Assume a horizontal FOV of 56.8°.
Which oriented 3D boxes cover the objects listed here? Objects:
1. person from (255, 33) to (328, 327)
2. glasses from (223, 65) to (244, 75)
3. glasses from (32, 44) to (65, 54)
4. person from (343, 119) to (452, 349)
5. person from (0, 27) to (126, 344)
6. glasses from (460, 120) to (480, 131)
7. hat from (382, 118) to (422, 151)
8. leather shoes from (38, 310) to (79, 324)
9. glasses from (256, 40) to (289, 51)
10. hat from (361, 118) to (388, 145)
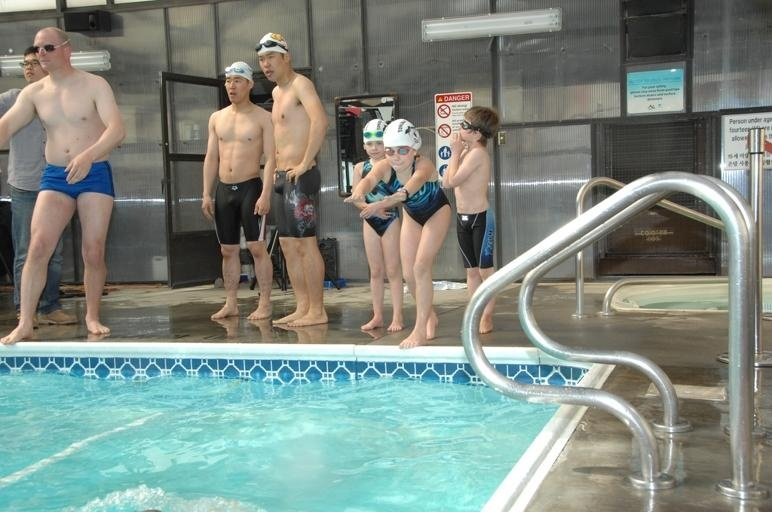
[{"bbox_3d":[-0.814,-0.637,6.350,0.566,2.563,0.707,-10,15,-23],"label":"person"},{"bbox_3d":[-1.419,-1.711,6.578,0.236,0.101,0.127,9,19,39],"label":"glasses"},{"bbox_3d":[-2.817,-1.716,5.947,0.229,0.067,0.095,-2,15,5],"label":"glasses"},{"bbox_3d":[0.134,-0.138,5.563,0.753,1.765,0.892,-4,14,-3],"label":"person"},{"bbox_3d":[-2.708,-0.551,6.076,1.023,2.649,0.722,-9,15,-20],"label":"person"},{"bbox_3d":[0.648,-1.058,5.798,0.109,0.080,0.224,-10,17,-23],"label":"glasses"},{"bbox_3d":[0.129,-0.937,5.588,0.201,0.212,0.274,-1,31,16],"label":"hat"},{"bbox_3d":[-3.191,0.599,6.950,0.388,0.183,0.156,-1,-2,-2],"label":"leather shoes"},{"bbox_3d":[-1.008,-1.833,6.276,0.258,0.097,0.157,-6,15,-10],"label":"glasses"},{"bbox_3d":[-0.098,-1.017,5.839,0.159,0.176,0.223,-9,7,8],"label":"hat"}]
